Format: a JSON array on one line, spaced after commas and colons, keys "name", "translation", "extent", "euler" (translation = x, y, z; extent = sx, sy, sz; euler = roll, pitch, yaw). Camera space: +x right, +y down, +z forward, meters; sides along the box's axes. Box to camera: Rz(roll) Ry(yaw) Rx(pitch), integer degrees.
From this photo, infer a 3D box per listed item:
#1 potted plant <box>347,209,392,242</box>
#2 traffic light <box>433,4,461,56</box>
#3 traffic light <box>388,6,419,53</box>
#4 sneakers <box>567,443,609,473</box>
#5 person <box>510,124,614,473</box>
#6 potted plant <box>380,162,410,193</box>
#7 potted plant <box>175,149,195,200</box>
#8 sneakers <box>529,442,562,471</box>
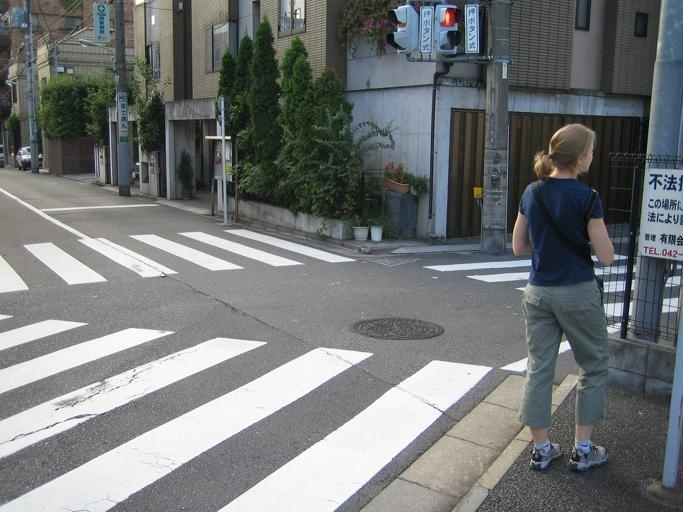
[{"name": "potted plant", "translation": [0.675, -0.752, 15.363], "extent": [0.741, 0.607, 0.757], "euler": [2, 2, 36]}, {"name": "traffic light", "translation": [2.007, -4.419, 12.145], "extent": [0.485, 0.951, 0.484], "euler": [2, 9, 10]}, {"name": "traffic light", "translation": [1.218, -4.548, 12.524], "extent": [0.604, 0.930, 0.405], "euler": [1, 9, 4]}, {"name": "sneakers", "translation": [1.954, 1.586, 5.112], "extent": [0.359, 0.206, 0.151], "euler": [-11, 19, -24]}, {"name": "person", "translation": [1.738, 0.346, 4.966], "extent": [0.783, 2.718, 0.394], "euler": [3, 9, 17]}, {"name": "potted plant", "translation": [1.372, -2.004, 16.040], "extent": [0.637, 0.695, 1.212], "euler": [0, 11, 2]}, {"name": "potted plant", "translation": [-6.516, -3.433, 26.301], "extent": [0.653, 1.980, 0.514], "euler": [-3, 9, -17]}, {"name": "sneakers", "translation": [1.624, 1.613, 5.075], "extent": [0.128, 0.177, 0.349], "euler": [12, 28, 41]}]
